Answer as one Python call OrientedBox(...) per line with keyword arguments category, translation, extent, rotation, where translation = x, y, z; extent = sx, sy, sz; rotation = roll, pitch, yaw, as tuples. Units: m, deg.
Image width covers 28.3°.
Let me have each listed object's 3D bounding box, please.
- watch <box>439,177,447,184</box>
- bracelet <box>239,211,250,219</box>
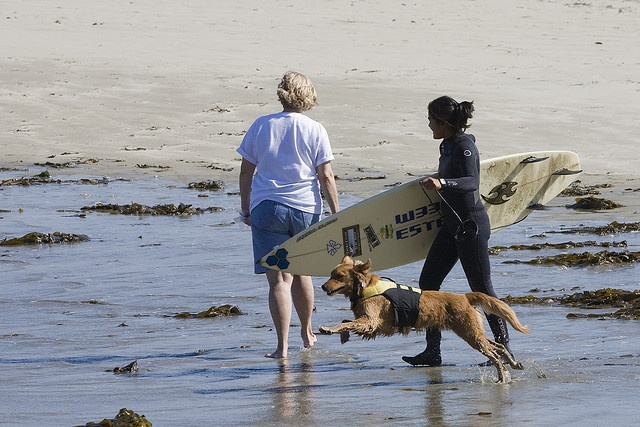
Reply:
OrientedBox(category="watch", translation=(2.102, -0.534, 21.790), extent=(0.119, 0.088, 0.074), rotation=(1, 20, 2))
OrientedBox(category="bracelet", translation=(-1.350, 0.046, 22.686), extent=(0.169, 0.110, 0.120), rotation=(17, 13, 16))
